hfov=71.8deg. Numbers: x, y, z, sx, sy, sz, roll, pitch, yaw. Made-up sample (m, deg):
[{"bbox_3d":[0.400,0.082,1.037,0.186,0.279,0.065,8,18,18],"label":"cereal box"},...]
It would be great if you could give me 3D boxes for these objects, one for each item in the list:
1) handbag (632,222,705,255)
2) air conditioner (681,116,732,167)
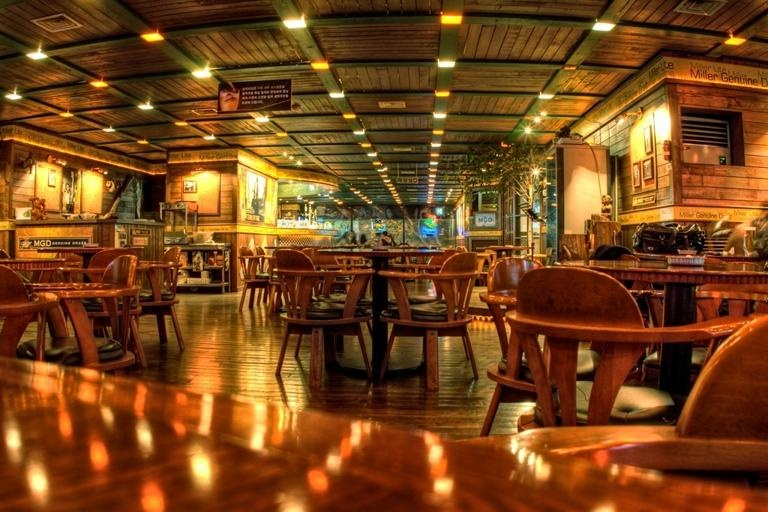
[{"bbox_3d":[1.516,-0.088,2.854,0.280,0.112,0.261,2,-1,34],"label":"handbag"},{"bbox_3d":[4.108,-1.486,6.824,0.831,0.652,0.273,-1,0,-16],"label":"air conditioner"}]
